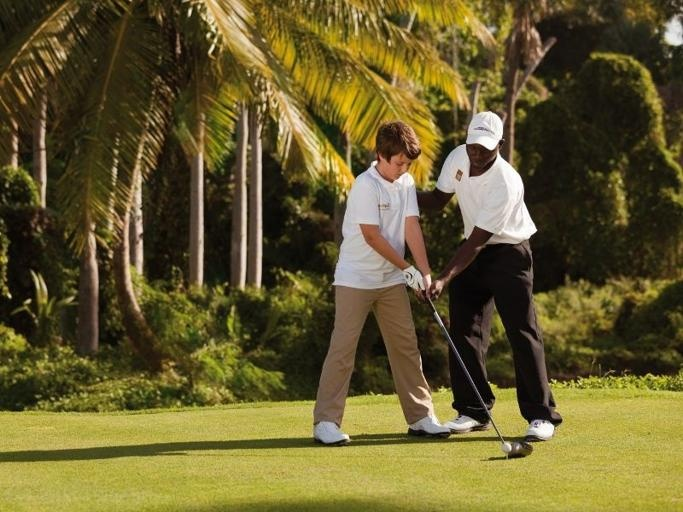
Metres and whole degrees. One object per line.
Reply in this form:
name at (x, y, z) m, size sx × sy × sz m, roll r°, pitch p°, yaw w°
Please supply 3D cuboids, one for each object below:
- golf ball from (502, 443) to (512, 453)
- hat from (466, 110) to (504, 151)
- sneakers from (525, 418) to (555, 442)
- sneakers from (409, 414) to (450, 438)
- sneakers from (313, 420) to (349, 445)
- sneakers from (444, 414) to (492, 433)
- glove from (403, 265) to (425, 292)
golf ball at (2.042, 2.328, 17.736) m, size 0.098 × 0.111 × 0.146 m, roll 7°, pitch -32°, yaw 2°
hat at (1.846, -1.606, 18.535) m, size 0.470 × 0.481 × 0.315 m, roll -1°, pitch 9°, yaw 0°
sneakers at (2.537, 2.172, 18.253) m, size 0.424 × 0.223 × 0.293 m, roll -2°, pitch 9°, yaw -7°
sneakers at (1.139, 2.176, 18.589) m, size 0.519 × 0.295 × 0.234 m, roll 0°, pitch -2°, yaw 12°
sneakers at (-0.115, 2.220, 18.226) m, size 0.206 × 0.235 × 0.486 m, roll -1°, pitch -3°, yaw -42°
sneakers at (1.639, 2.172, 18.740) m, size 0.495 × 0.276 × 0.223 m, roll 5°, pitch -9°, yaw -11°
glove at (0.937, 0.286, 18.498) m, size 0.174 × 0.450 × 0.159 m, roll -21°, pitch -9°, yaw -9°
